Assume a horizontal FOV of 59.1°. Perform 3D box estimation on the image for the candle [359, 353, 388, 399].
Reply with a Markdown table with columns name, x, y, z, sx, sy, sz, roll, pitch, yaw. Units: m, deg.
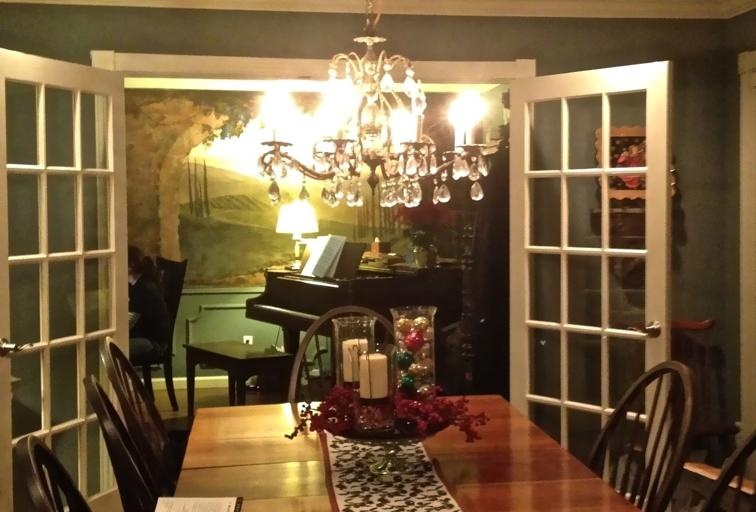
| name | x | y | z | sx | sy | sz | roll | pitch | yaw |
| --- | --- | --- | --- | --- | --- | --- | --- | --- | --- |
| candle | -0.019 | 0.482 | 2.709 | 0.156 | 0.182 | 0.158 | -1 | 1 | 14 |

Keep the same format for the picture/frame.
| name | x | y | z | sx | sy | sz | roll | pitch | yaw |
| --- | --- | --- | --- | --- | --- | --- | --- | --- | --- |
| picture/frame | 1.518 | -0.559 | 3.974 | 0.460 | 0.470 | 0.020 | 1 | 2 | 15 |

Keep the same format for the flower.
| name | x | y | z | sx | sy | sz | roll | pitch | yaw |
| --- | --- | --- | --- | --- | --- | --- | --- | --- | --- |
| flower | 0.079 | 0.668 | 2.770 | 0.712 | 0.230 | 0.204 | -1 | 13 | 1 |

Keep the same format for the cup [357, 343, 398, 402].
| name | x | y | z | sx | sy | sz | roll | pitch | yaw |
| --- | --- | --- | --- | --- | --- | --- | --- | --- | --- |
| cup | 0.049 | 0.511 | 2.786 | 0.179 | 0.201 | 0.178 | -4 | -8 | -1 |

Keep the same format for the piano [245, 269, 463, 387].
| name | x | y | z | sx | sy | sz | roll | pitch | yaw |
| --- | --- | --- | --- | --- | --- | --- | --- | --- | --- |
| piano | -0.113 | 0.638 | 5.959 | 1.427 | 0.908 | 1.079 | 0 | -2 | -18 |

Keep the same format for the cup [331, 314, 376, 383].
| name | x | y | z | sx | sy | sz | roll | pitch | yaw |
| --- | --- | --- | --- | --- | --- | --- | --- | --- | --- |
| cup | -0.068 | 0.415 | 2.873 | 0.198 | 0.294 | 0.202 | -2 | -9 | 0 |

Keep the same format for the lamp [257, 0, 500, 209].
| name | x | y | z | sx | sy | sz | roll | pitch | yaw |
| --- | --- | --- | --- | --- | --- | --- | --- | --- | --- |
| lamp | -0.150 | -0.933 | 3.842 | 1.065 | 1.178 | 1.823 | -4 | 13 | -9 |
